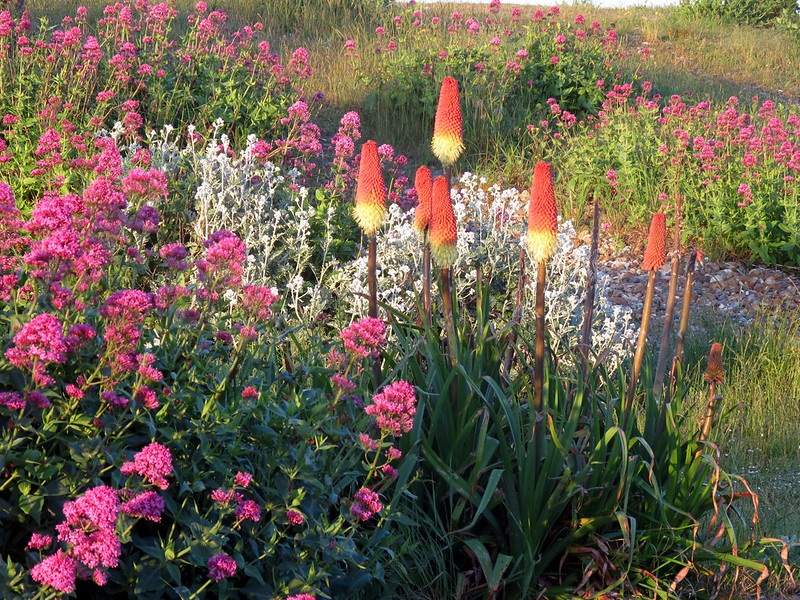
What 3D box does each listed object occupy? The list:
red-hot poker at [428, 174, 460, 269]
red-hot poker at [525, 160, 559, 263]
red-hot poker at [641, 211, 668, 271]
[{"bbox_3d":[0.210,-0.390,3.834,0.124,0.464,0.219,1,21,1],"label":"red-hot poker"},{"bbox_3d":[0.642,-0.378,3.523,0.128,0.462,0.215,4,21,9],"label":"red-hot poker"},{"bbox_3d":[1.288,-0.276,3.968,0.092,0.333,0.252,8,22,19],"label":"red-hot poker"}]
